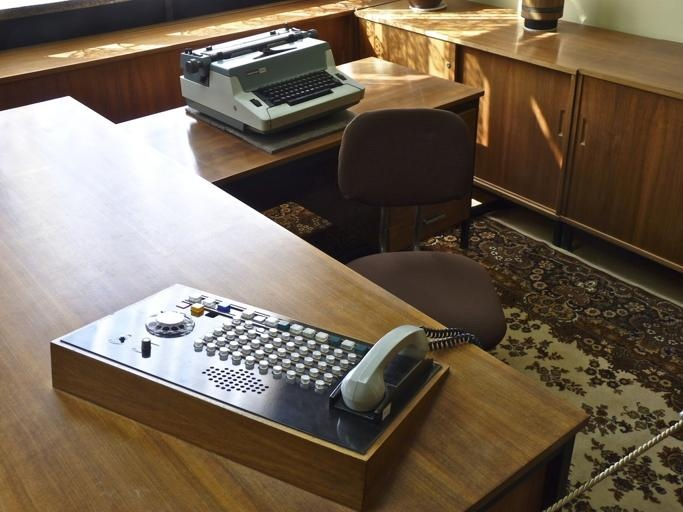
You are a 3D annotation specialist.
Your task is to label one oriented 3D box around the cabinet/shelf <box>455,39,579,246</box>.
[{"bbox_3d":[0.941,-0.629,2.970,0.355,0.811,0.905,-27,39,-32],"label":"cabinet/shelf"}]
